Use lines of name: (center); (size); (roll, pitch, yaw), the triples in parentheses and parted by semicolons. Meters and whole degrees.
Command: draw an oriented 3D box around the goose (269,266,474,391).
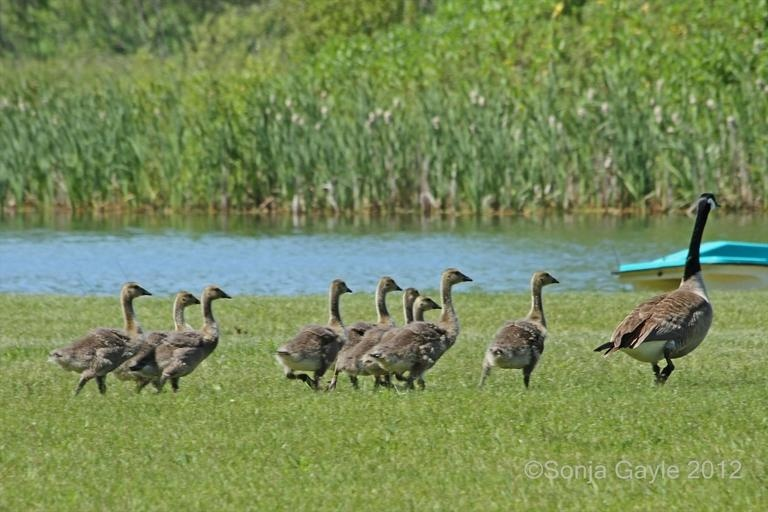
goose: (0.046, 1.178, 22.216); (2.587, 1.879, 1.000); (-13, 18, -39)

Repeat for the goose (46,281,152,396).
goose: (-4.424, 1.206, 22.226); (1.714, 1.789, 1.515); (-3, 11, -16)
